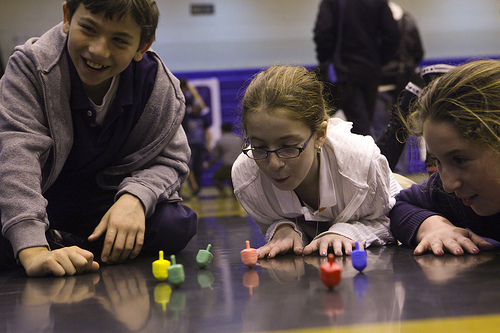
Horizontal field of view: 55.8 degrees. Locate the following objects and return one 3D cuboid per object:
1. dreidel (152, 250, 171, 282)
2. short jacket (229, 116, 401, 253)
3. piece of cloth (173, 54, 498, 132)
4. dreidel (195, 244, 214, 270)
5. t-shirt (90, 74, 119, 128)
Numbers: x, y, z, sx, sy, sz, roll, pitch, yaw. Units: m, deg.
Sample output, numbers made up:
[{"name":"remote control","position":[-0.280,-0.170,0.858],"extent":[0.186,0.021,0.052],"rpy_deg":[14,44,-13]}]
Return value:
[{"name":"dreidel","position":[-0.371,0.407,1.940],"extent":[0.075,0.118,0.070],"rpy_deg":[3,-1,-30]},{"name":"short jacket","position":[0.364,0.126,2.320],"extent":[0.500,0.421,0.856],"rpy_deg":[-26,-20,26]},{"name":"piece of cloth","position":[0.635,-0.624,3.878],"extent":[1.947,0.484,0.753],"rpy_deg":[0,-15,-10]},{"name":"dreidel","position":[-0.198,0.397,2.093],"extent":[0.057,0.115,0.061],"rpy_deg":[12,-25,18]},{"name":"t-shirt","position":[-0.703,-0.318,2.250],"extent":[0.151,0.224,0.080],"rpy_deg":[7,11,7]}]
